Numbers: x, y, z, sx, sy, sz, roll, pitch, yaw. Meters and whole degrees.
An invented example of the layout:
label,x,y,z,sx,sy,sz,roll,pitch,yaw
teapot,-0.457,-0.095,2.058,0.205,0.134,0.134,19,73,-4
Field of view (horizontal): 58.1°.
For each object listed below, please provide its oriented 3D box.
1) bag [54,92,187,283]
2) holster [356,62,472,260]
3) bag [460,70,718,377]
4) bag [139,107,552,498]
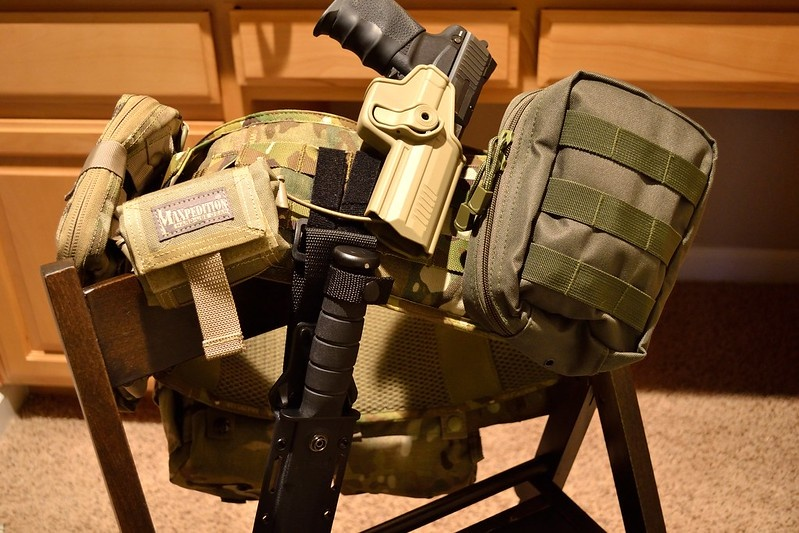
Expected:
label,x,y,z,sx,sy,sz,roll,pitch,yaw
bag,-0.544,-0.156,1.412,0.225,0.367,0.129,28,-25,-33
holster,0.016,-0.189,1.285,0.188,0.283,0.218,10,31,8
bag,0.322,-0.072,1.278,0.385,0.477,0.325,15,32,17
bag,-0.068,0.035,1.673,0.936,0.899,0.678,0,21,-3
